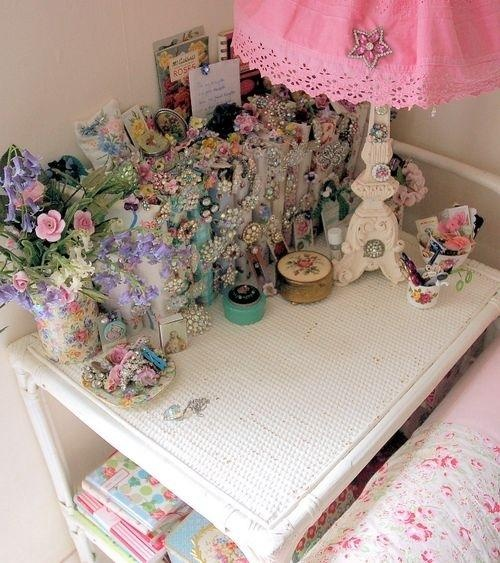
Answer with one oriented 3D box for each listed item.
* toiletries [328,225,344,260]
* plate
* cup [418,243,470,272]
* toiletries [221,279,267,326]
[{"bbox_3d":[0.233,-0.106,1.243,0.055,0.089,0.088,0,48,10],"label":"toiletries"},{"bbox_3d":[-0.237,0.178,0.905,0.140,0.075,0.153,23,46,33],"label":"plate"},{"bbox_3d":[0.509,-0.063,1.173,0.097,0.040,0.093,0,19,0],"label":"cup"},{"bbox_3d":[-0.014,0.056,1.081,0.103,0.057,0.096,13,43,16],"label":"toiletries"}]
